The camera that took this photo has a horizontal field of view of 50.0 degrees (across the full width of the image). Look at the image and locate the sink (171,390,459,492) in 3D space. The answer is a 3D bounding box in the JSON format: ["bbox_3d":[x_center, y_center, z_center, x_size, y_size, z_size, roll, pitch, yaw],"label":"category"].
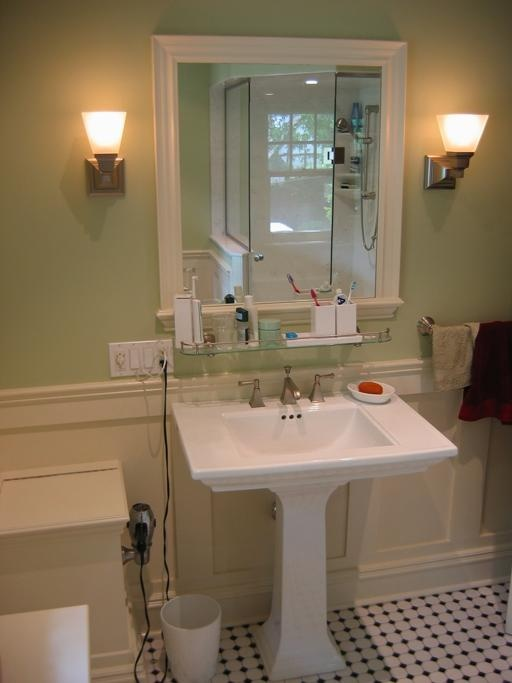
[{"bbox_3d":[0.140,0.308,1.605,0.748,0.179,0.521,-2,8,-11],"label":"sink"}]

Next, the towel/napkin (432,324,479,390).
[{"bbox_3d":[0.702,0.049,1.929,0.184,0.249,0.046,-4,9,-10],"label":"towel/napkin"}]

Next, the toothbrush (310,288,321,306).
[{"bbox_3d":[0.196,-0.148,1.802,0.018,0.084,0.013,-22,12,-32],"label":"toothbrush"}]

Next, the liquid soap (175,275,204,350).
[{"bbox_3d":[-0.203,-0.090,1.643,0.082,0.212,0.129,-1,7,-7],"label":"liquid soap"}]

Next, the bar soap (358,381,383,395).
[{"bbox_3d":[0.384,0.144,1.809,0.057,0.037,0.042,14,20,33],"label":"bar soap"}]

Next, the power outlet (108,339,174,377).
[{"bbox_3d":[-0.360,0.054,1.723,0.197,0.112,0.030,-3,8,-18],"label":"power outlet"}]

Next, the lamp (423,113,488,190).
[{"bbox_3d":[0.631,-0.610,1.772,0.177,0.342,0.135,-1,11,-6],"label":"lamp"}]

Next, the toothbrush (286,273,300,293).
[{"bbox_3d":[0.121,-0.189,1.781,0.019,0.089,0.015,-29,29,-8],"label":"toothbrush"}]

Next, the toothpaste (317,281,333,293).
[{"bbox_3d":[0.232,-0.185,1.785,0.030,0.018,0.044,-3,28,-5],"label":"toothpaste"}]

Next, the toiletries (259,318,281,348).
[{"bbox_3d":[0.043,-0.026,1.684,0.068,0.088,0.074,1,4,11],"label":"toiletries"}]

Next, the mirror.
[{"bbox_3d":[0.100,-0.508,1.701,0.818,0.827,0.103,-2,7,-14],"label":"mirror"}]

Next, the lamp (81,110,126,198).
[{"bbox_3d":[-0.416,-0.518,1.501,0.110,0.268,0.094,-2,11,-9],"label":"lamp"}]
